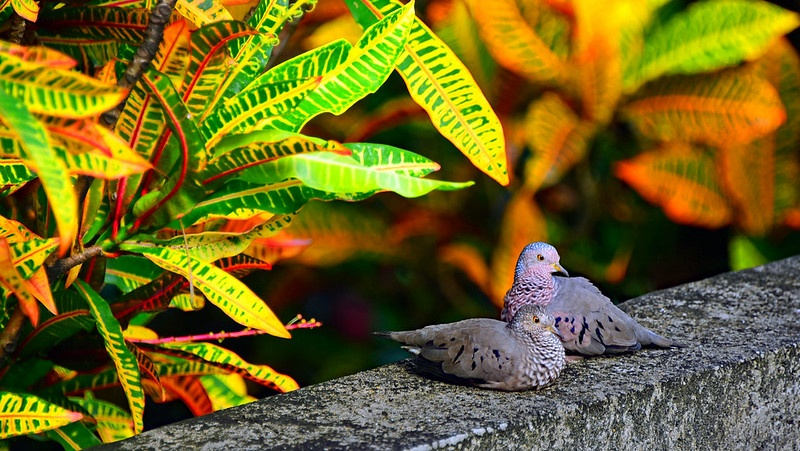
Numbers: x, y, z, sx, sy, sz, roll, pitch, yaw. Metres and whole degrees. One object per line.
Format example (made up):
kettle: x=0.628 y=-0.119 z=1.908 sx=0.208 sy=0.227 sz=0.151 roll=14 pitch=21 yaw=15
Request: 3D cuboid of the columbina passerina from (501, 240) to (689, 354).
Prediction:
columbina passerina: x=0.572 y=0.214 z=3.063 sx=0.545 sy=0.360 sz=0.264 roll=2 pitch=19 yaw=-4

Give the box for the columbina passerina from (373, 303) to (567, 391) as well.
columbina passerina: x=0.196 y=0.290 z=2.935 sx=0.531 sy=0.251 sz=0.218 roll=10 pitch=18 yaw=12
